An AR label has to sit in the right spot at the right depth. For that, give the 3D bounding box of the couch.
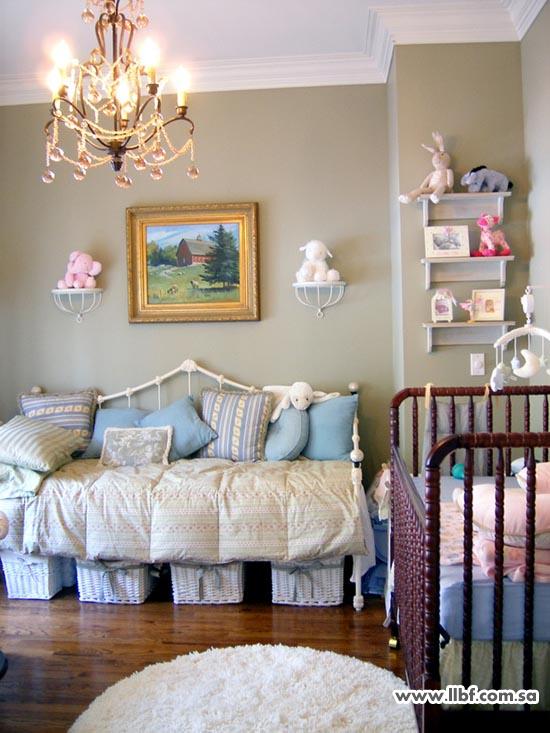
[{"bbox_3d":[-0.360,0.598,3.137,1.610,0.860,0.769,-1,4,6],"label":"couch"}]

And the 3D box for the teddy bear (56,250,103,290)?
[{"bbox_3d":[-1.061,-0.511,3.757,0.226,0.217,0.067,4,-7,4],"label":"teddy bear"}]

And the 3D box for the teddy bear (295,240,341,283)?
[{"bbox_3d":[0.223,-0.552,3.592,0.241,0.232,0.156,-1,4,5],"label":"teddy bear"}]

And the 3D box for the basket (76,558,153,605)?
[{"bbox_3d":[-0.706,0.943,2.873,0.190,0.121,0.282,0,0,0],"label":"basket"}]

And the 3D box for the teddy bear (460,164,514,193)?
[{"bbox_3d":[0.979,-0.863,3.097,0.204,0.107,0.134,3,19,12],"label":"teddy bear"}]

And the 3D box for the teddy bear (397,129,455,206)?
[{"bbox_3d":[0.724,-0.926,3.139,0.242,0.288,0.190,-20,19,-27],"label":"teddy bear"}]

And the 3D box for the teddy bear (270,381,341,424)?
[{"bbox_3d":[0.105,0.148,3.468,0.260,0.098,0.250,-5,7,-22],"label":"teddy bear"}]

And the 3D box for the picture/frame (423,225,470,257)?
[{"bbox_3d":[0.808,-0.587,3.172,0.170,0.118,0.022,-1,-12,2],"label":"picture/frame"}]

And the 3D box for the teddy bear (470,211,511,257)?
[{"bbox_3d":[1.013,-0.607,3.150,0.153,0.199,0.132,-1,4,18],"label":"teddy bear"}]

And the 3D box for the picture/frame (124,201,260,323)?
[{"bbox_3d":[-0.423,-0.584,3.696,0.700,0.576,0.072,0,4,6],"label":"picture/frame"}]

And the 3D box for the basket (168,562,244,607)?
[{"bbox_3d":[-0.290,0.947,2.960,0.185,0.112,0.270,-1,-8,1],"label":"basket"}]

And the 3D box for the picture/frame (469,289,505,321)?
[{"bbox_3d":[1.003,-0.287,3.182,0.155,0.155,0.016,3,4,4],"label":"picture/frame"}]

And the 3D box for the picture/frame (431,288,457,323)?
[{"bbox_3d":[0.801,-0.287,3.210,0.117,0.160,0.073,-1,4,12],"label":"picture/frame"}]
